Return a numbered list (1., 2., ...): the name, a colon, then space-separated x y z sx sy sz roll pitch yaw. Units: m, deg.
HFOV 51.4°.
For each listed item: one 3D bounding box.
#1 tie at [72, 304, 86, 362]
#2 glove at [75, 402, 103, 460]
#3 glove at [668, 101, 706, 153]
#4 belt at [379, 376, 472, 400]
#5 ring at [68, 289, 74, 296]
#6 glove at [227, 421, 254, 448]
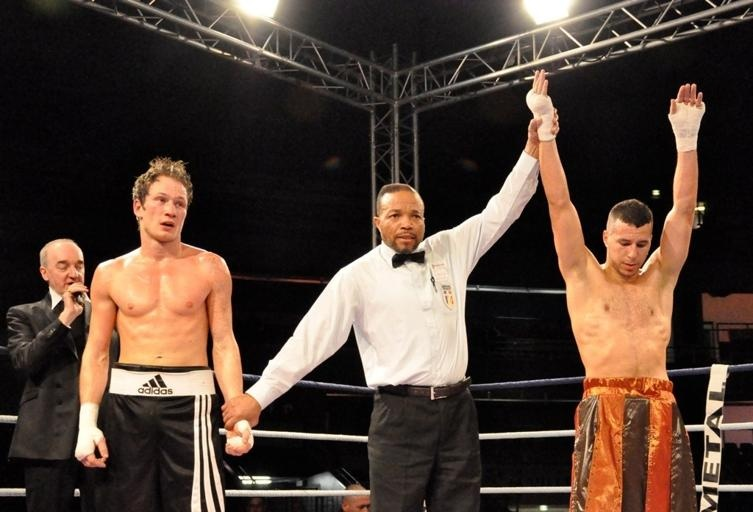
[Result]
1. tie: -2.075 0.588 5.466 0.078 0.314 0.219 0 2 -16
2. glove: -1.794 1.117 4.917 0.162 0.364 0.145 7 -19 -19
3. glove: 2.178 -0.988 5.466 0.239 0.101 0.382 -8 -20 24
4. belt: 0.293 0.874 5.053 0.607 0.162 0.131 0 -19 2
5. ring: -2.105 0.259 5.375 0.024 0.034 0.011 -32 -2 8
6. glove: -0.878 1.169 4.981 0.163 0.202 0.181 4 -19 -10
